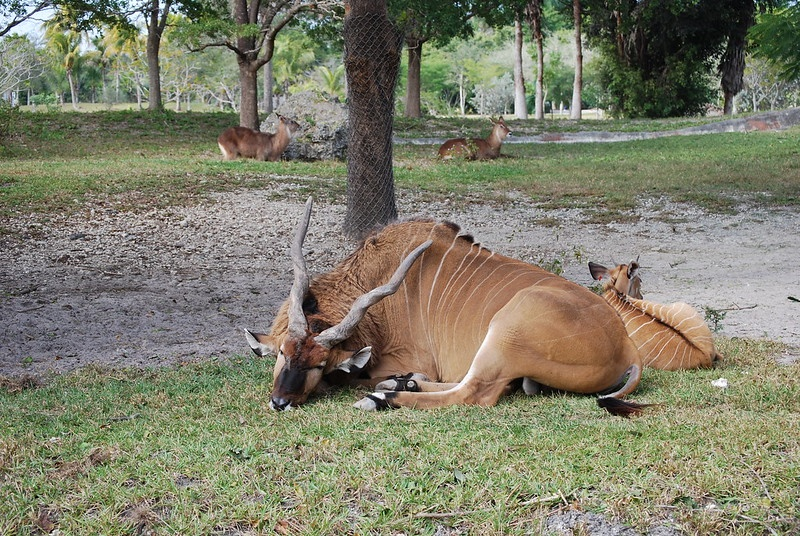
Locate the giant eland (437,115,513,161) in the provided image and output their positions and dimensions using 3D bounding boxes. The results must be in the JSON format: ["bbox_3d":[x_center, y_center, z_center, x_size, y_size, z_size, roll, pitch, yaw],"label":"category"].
[{"bbox_3d":[2.163,-3.667,24.785,1.245,1.099,3.775,4,12,24],"label":"giant eland"}]

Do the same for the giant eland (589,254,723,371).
[{"bbox_3d":[2.780,0.593,9.586,0.851,0.777,1.481,-20,46,-18],"label":"giant eland"}]

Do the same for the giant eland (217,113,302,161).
[{"bbox_3d":[-3.747,-3.460,23.065,2.132,1.189,0.867,-1,11,-2],"label":"giant eland"}]

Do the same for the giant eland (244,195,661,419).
[{"bbox_3d":[0.598,0.405,8.672,3.157,1.514,1.949,1,-4,24],"label":"giant eland"}]
